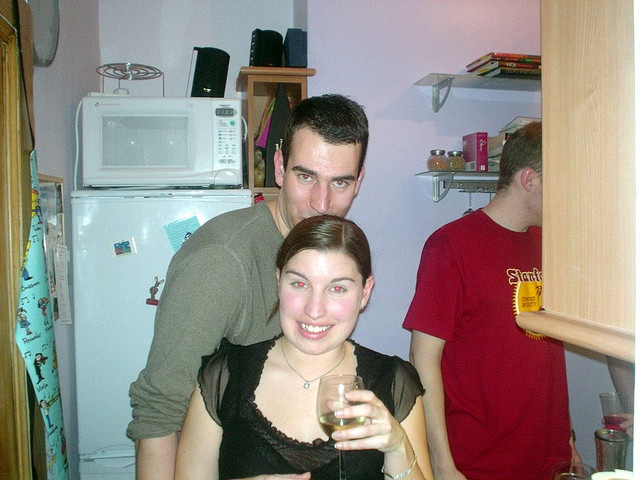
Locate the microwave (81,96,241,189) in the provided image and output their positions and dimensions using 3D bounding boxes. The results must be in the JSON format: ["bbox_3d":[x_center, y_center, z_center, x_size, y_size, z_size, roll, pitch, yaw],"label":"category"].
[{"bbox_3d":[-0.787,-0.485,2.613,0.746,0.496,0.452,0,1,-4],"label":"microwave"}]

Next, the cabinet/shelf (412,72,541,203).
[{"bbox_3d":[0.795,-0.548,2.809,0.758,0.712,0.286,1,-3,-24],"label":"cabinet/shelf"}]

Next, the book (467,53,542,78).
[{"bbox_3d":[1.010,-0.947,2.830,0.281,0.089,0.191,7,27,13],"label":"book"}]
